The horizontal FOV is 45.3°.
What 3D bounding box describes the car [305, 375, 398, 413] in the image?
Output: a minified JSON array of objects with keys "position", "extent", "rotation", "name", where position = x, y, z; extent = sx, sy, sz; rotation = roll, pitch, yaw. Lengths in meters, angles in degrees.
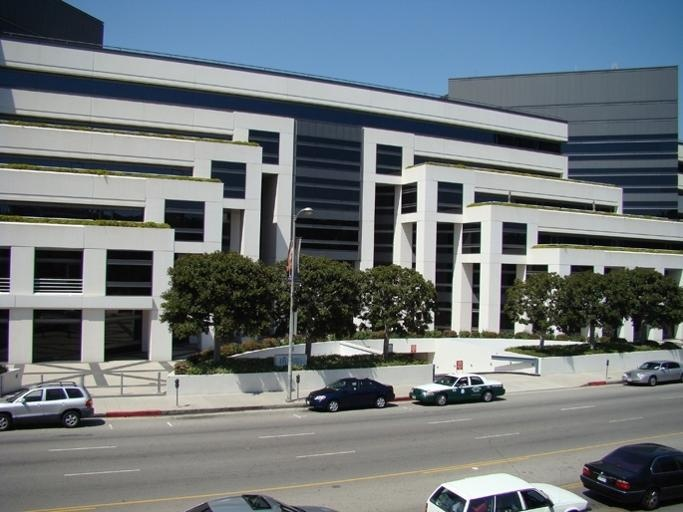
[{"position":[0.412,8.392,50.024],"extent":[4.860,1.545,2.019],"rotation":[2,-5,-20],"name":"car"}]
